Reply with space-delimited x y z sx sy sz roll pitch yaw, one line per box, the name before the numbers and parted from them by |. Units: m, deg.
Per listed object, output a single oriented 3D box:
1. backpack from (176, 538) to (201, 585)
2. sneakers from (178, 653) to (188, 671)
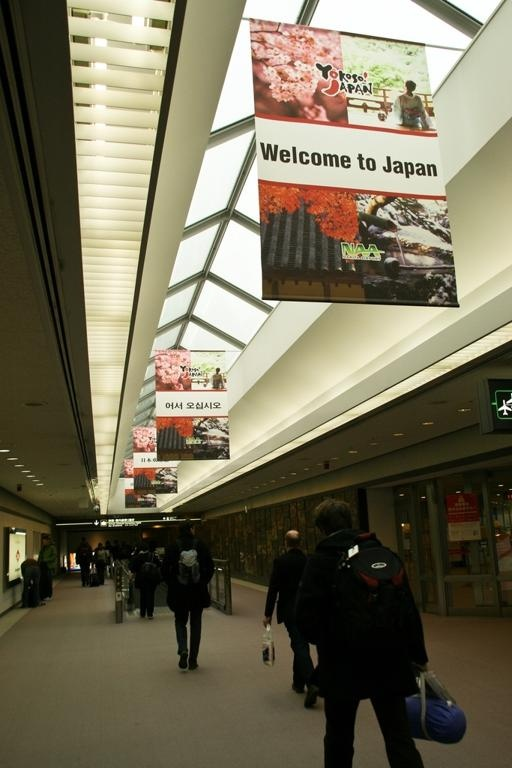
backpack | -0.846 2.306 6.508 0.368 0.564 0.339 1 -27 -7
sneakers | -0.956 3.624 6.625 0.125 0.318 0.131 3 12 0
